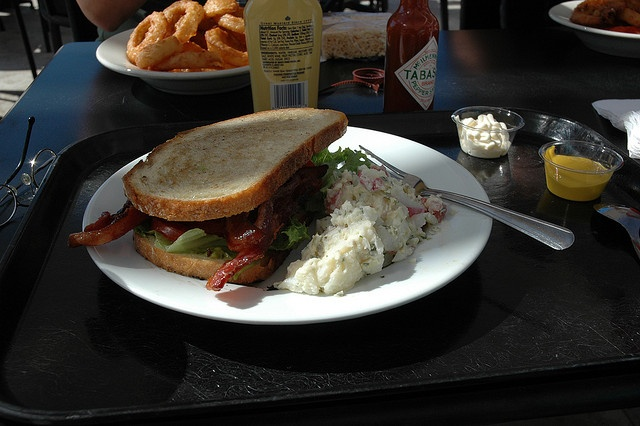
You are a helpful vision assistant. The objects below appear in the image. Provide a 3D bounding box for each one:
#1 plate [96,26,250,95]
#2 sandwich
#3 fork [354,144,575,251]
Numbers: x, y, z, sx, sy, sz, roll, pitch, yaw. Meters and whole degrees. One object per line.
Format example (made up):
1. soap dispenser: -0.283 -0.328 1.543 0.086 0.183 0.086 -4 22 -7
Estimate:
1. plate: -0.637 -0.613 1.954 0.408 0.078 0.403 -6 38 -12
2. sandwich: -0.217 -0.080 1.309 0.476 0.159 0.614 22 41 35
3. fork: 0.405 -0.039 1.308 0.608 0.063 0.085 28 11 24
